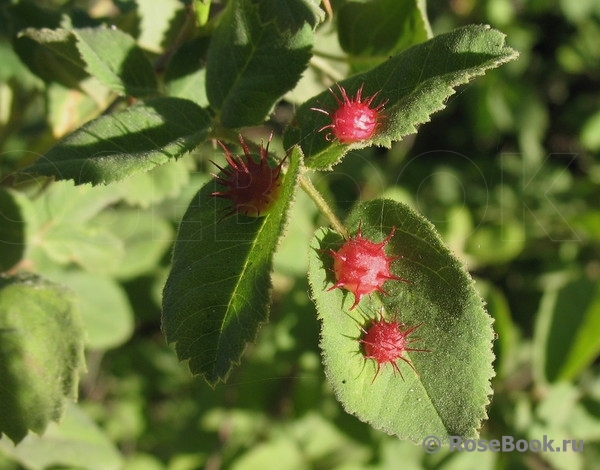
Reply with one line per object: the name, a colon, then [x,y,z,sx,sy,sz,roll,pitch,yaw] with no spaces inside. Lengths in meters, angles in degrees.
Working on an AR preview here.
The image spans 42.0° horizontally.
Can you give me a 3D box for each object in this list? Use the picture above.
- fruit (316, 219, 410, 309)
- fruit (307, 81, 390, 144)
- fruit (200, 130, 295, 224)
fruit: [0.181,0.128,2.377,0.295,0.149,0.305,23,21,31]
fruit: [0.142,-0.361,2.359,0.228,0.107,0.173,9,46,9]
fruit: [-0.140,-0.171,2.328,0.243,0.280,0.225,-9,82,2]
